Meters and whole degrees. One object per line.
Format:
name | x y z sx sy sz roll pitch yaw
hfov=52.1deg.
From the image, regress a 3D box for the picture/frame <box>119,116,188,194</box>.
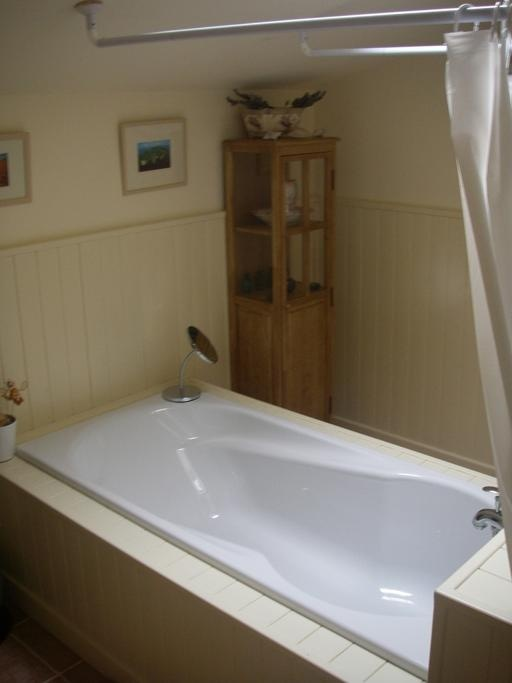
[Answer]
picture/frame | -0.487 -0.874 2.421 0.030 0.313 0.308 16 27 37
